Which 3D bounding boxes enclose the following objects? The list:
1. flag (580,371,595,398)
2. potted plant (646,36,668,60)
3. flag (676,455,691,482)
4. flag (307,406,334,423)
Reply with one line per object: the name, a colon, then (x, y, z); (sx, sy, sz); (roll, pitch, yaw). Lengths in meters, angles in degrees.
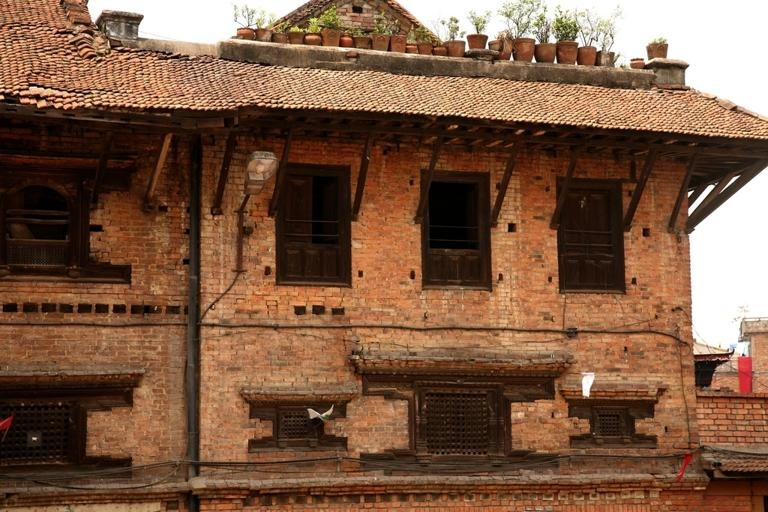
flag: (4.362, 2.564, 40.064); (0.299, 0.528, 0.632); (1, -11, 6)
potted plant: (6.103, -4.508, 42.203); (0.436, 0.502, 0.334); (2, -11, 0)
flag: (6.409, 4.309, 40.412); (0.172, 0.573, 0.371); (-8, -15, 42)
flag: (-1.214, 3.155, 39.236); (0.453, 0.270, 0.319); (5, -3, -26)
